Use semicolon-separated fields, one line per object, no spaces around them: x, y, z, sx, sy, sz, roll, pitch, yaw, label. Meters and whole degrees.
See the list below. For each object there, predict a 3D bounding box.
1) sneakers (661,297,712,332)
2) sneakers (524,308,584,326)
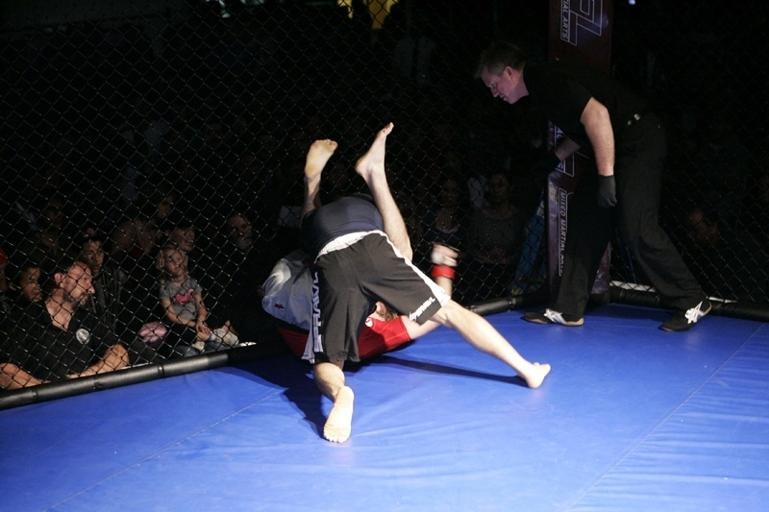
2.035;0.417;4.258;0.381;0.215;0.116;-21;34;-21;sneakers
1.194;0.432;4.452;0.399;0.121;0.148;1;2;23;sneakers
